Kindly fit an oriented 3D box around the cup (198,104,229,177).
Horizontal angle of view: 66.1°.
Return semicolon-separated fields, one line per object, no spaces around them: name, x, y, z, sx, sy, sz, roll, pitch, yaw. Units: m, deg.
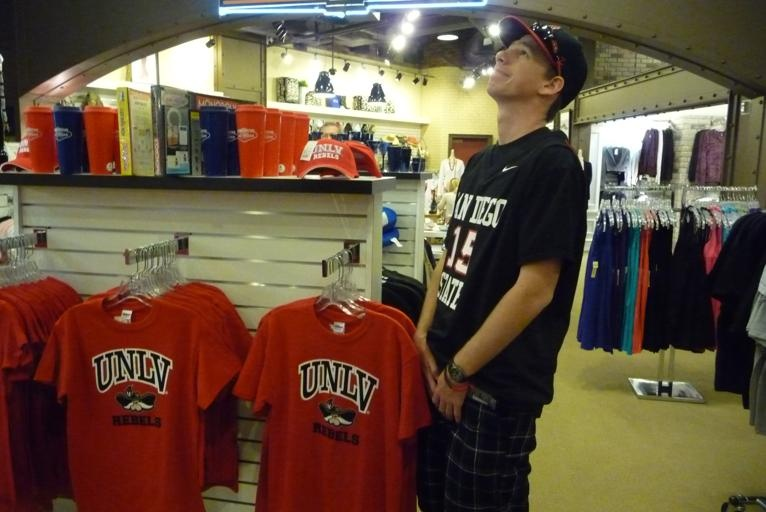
cup;-0.889;-0.607;3.122;0.180;0.356;0.106;-2;14;-10

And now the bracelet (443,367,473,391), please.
bracelet;0.343;0.574;2.761;0.043;0.099;0.115;-49;38;-15

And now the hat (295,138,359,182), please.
hat;-0.301;-0.521;3.226;0.210;0.155;0.283;2;8;2

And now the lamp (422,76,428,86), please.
lamp;0.997;-4.182;14.211;0.112;0.158;0.056;5;37;5

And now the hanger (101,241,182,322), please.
hanger;-1.272;0.126;3.070;0.194;0.261;0.645;4;13;10

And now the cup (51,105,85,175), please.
cup;-1.697;-0.625;3.191;0.138;0.356;0.094;-8;16;-31

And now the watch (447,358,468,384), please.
watch;0.336;0.547;2.752;0.105;0.082;0.051;39;59;24

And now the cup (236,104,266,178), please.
cup;-0.691;-0.603;3.090;0.152;0.371;0.106;-3;14;-15

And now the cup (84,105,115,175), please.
cup;-1.517;-0.621;3.175;0.157;0.357;0.076;-6;15;-25

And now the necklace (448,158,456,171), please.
necklace;1.238;-1.652;10.693;0.113;0.213;0.044;-2;11;0
